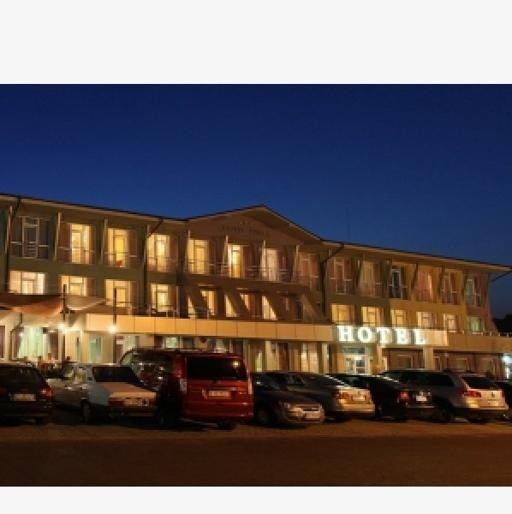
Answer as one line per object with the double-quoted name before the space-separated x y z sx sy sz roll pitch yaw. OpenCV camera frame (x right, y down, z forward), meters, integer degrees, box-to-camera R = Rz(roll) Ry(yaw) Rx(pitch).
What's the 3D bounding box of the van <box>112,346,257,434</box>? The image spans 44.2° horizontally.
"van" -2.059 3.526 17.802 1.782 1.313 3.637 3 -4 -25
